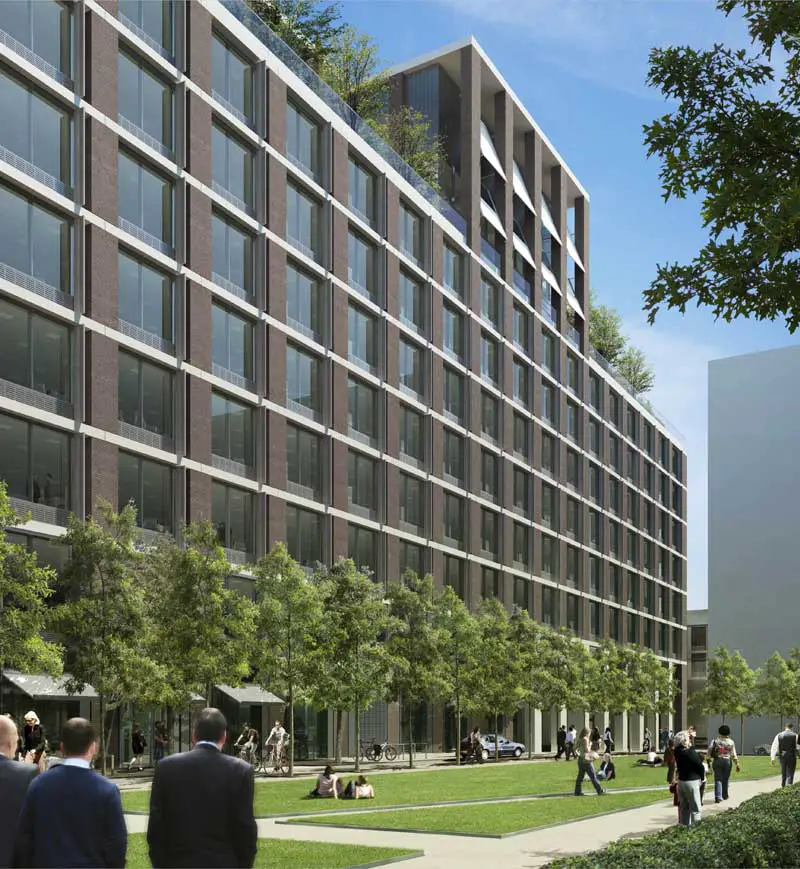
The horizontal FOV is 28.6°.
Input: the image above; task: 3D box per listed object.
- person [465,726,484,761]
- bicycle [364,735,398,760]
[{"bbox_3d":[2.958,12.028,60.297,0.576,1.428,1.761,0,-17,1],"label":"person"},{"bbox_3d":[-0.619,11.407,56.431,0.745,1.137,1.256,-2,-6,40],"label":"bicycle"}]
